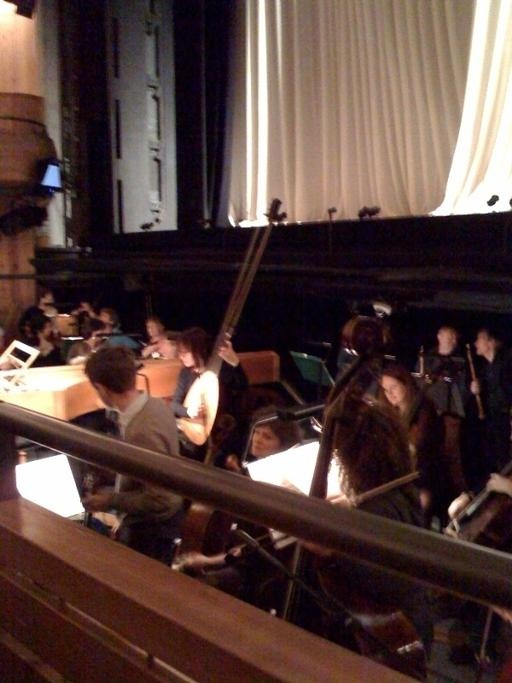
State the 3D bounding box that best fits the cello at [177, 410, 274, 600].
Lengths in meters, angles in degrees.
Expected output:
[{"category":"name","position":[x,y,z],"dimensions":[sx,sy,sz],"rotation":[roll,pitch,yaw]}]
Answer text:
[{"category":"cello","position":[-0.025,0.425,1.336],"dimensions":[0.192,0.356,0.078],"rotation":[13,-13,-42]}]
